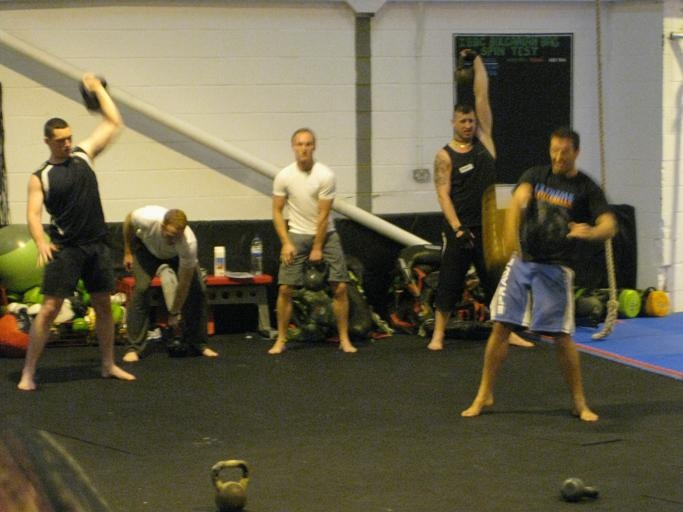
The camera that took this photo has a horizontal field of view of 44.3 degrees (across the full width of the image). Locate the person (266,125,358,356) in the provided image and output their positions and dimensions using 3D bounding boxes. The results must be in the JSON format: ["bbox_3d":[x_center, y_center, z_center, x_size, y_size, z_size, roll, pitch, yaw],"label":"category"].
[{"bbox_3d":[-0.291,-0.142,8.071,0.829,2.112,0.661,0,11,-1],"label":"person"}]

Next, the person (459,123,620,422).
[{"bbox_3d":[1.432,0.146,5.969,0.949,2.079,0.350,2,11,15],"label":"person"}]

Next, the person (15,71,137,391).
[{"bbox_3d":[-2.219,-0.198,6.833,0.942,2.529,0.585,-4,11,-18],"label":"person"}]
